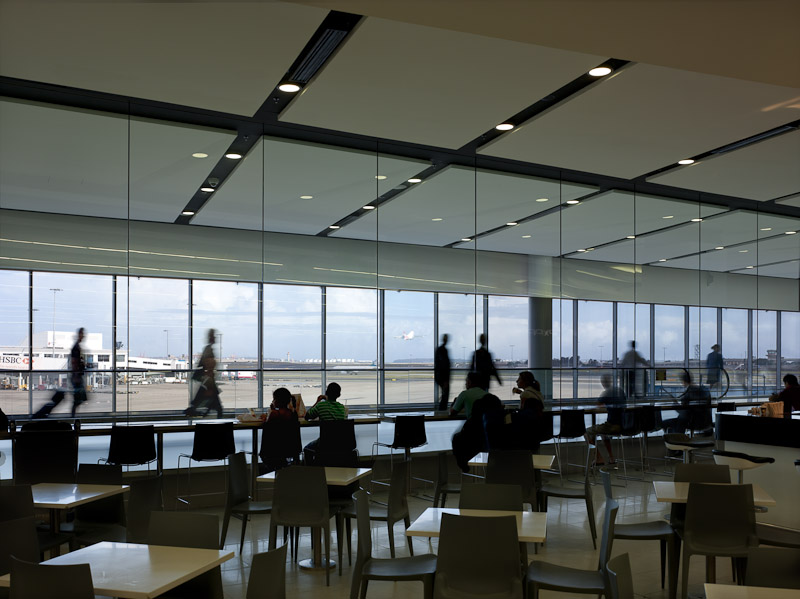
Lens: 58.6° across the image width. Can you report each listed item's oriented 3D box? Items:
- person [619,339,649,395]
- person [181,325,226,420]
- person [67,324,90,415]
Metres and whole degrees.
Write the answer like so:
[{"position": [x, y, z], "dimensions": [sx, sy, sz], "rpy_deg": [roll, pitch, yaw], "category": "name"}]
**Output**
[{"position": [3.132, 0.928, 9.568], "dimensions": [0.446, 0.741, 0.149], "rpy_deg": [6, -8, -27], "category": "person"}, {"position": [-2.078, 0.777, 7.760], "dimensions": [0.345, 0.906, 0.129], "rpy_deg": [4, -7, -13], "category": "person"}, {"position": [-3.293, 0.743, 7.328], "dimensions": [0.171, 0.905, 0.122], "rpy_deg": [2, -7, 9], "category": "person"}]
